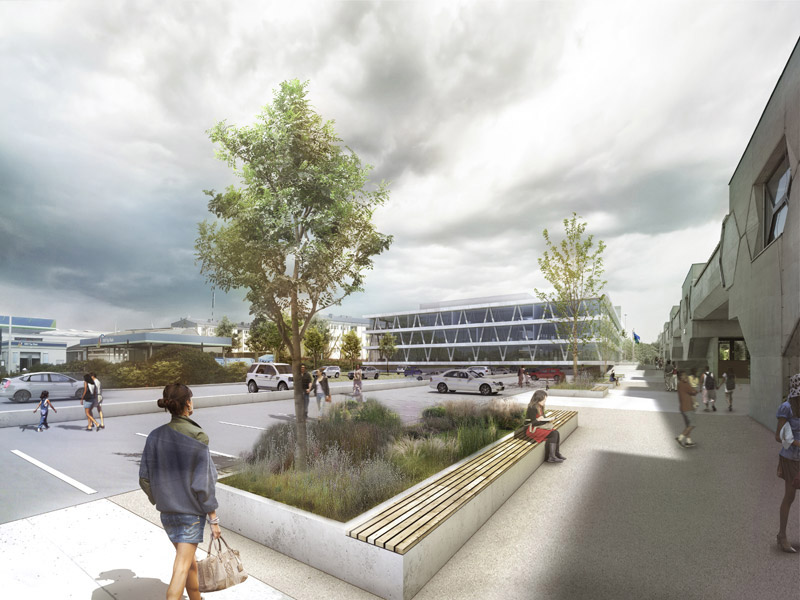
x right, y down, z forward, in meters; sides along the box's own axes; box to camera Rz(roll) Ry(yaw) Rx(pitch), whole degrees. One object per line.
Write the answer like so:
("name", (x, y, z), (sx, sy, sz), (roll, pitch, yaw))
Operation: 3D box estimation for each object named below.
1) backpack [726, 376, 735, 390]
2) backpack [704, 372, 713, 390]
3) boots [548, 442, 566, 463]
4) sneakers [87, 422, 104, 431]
("backpack", (14.589, 3.655, 19.162), (0.682, 0.867, 0.223), (9, -4, -44))
("backpack", (13.323, 3.462, 18.762), (0.354, 0.707, 0.639), (-1, -5, 34))
("boots", (3.770, 3.683, 10.613), (0.432, 0.454, 0.500), (-4, -7, 11))
("sneakers", (-8.682, 3.629, 12.549), (0.215, 0.251, 0.644), (17, -18, -35))
